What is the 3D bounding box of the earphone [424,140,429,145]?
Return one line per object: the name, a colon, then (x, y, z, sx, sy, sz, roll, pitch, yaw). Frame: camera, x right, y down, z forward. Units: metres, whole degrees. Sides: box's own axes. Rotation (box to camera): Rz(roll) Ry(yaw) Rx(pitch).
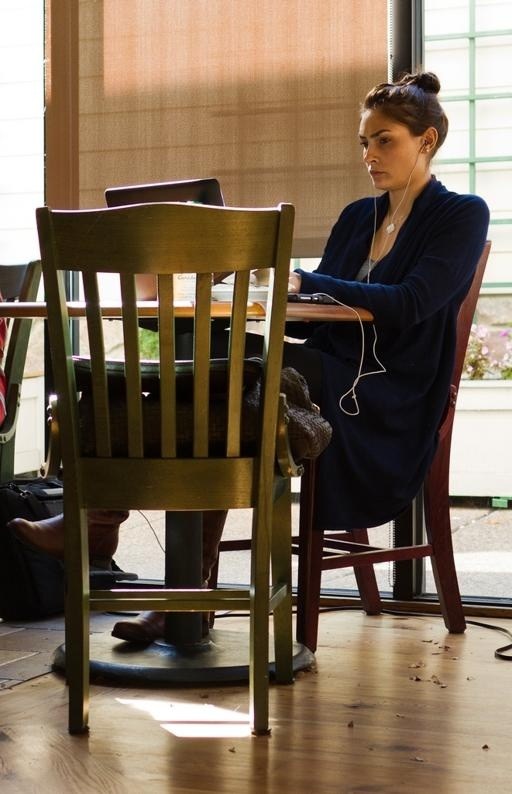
earphone: (0.418, -0.633, 2.190, 0.007, 0.012, 0.008, 2, 19, 11)
